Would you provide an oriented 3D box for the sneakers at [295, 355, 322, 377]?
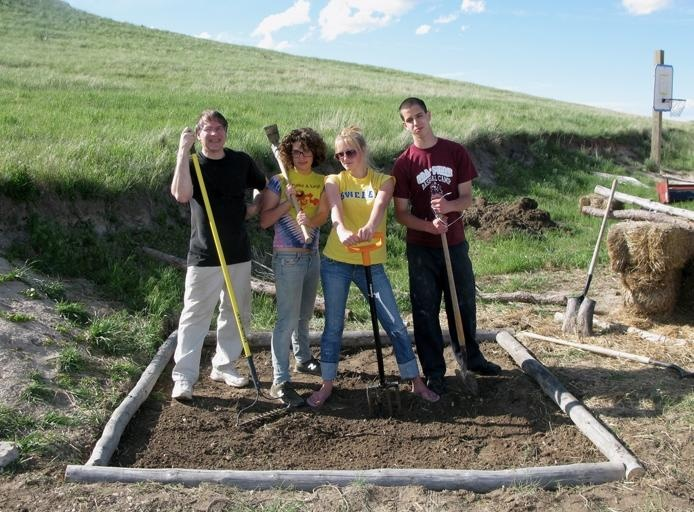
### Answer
[{"bbox_3d":[-0.417,1.266,7.280,0.320,0.143,0.133,1,7,5],"label":"sneakers"}]

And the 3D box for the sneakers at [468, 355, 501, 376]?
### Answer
[{"bbox_3d":[1.505,1.208,7.039,0.315,0.217,0.106,-10,27,-7],"label":"sneakers"}]

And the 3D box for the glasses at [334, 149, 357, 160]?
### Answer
[{"bbox_3d":[0.007,-1.002,6.243,0.179,0.089,0.056,0,16,3],"label":"glasses"}]

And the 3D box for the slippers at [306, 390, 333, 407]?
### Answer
[{"bbox_3d":[-0.279,1.476,6.675,0.236,0.096,0.120,-3,7,-30],"label":"slippers"}]

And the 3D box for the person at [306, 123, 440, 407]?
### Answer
[{"bbox_3d":[0.153,0.136,6.462,1.137,2.804,0.587,0,16,5],"label":"person"}]

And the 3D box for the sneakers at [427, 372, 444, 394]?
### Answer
[{"bbox_3d":[0.921,1.333,6.701,0.147,0.180,0.417,-1,-11,3],"label":"sneakers"}]

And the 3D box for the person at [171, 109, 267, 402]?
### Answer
[{"bbox_3d":[-1.373,-0.005,6.699,0.816,2.952,1.038,3,16,16],"label":"person"}]
